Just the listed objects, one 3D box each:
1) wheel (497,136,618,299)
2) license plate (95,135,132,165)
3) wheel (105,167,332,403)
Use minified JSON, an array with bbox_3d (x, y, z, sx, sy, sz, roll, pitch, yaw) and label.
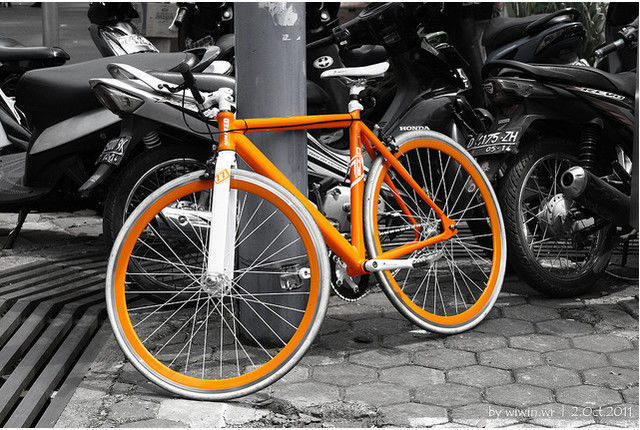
[{"bbox_3d":[1.638,0.044,3.797,1.067,1.066,0.312,-6,-6,-28],"label":"wheel"},{"bbox_3d":[-1.356,-0.421,3.549,0.272,0.045,0.199,-1,56,43],"label":"license plate"},{"bbox_3d":[-0.488,0.331,2.629,1.069,1.071,0.411,2,15,5],"label":"wheel"}]
